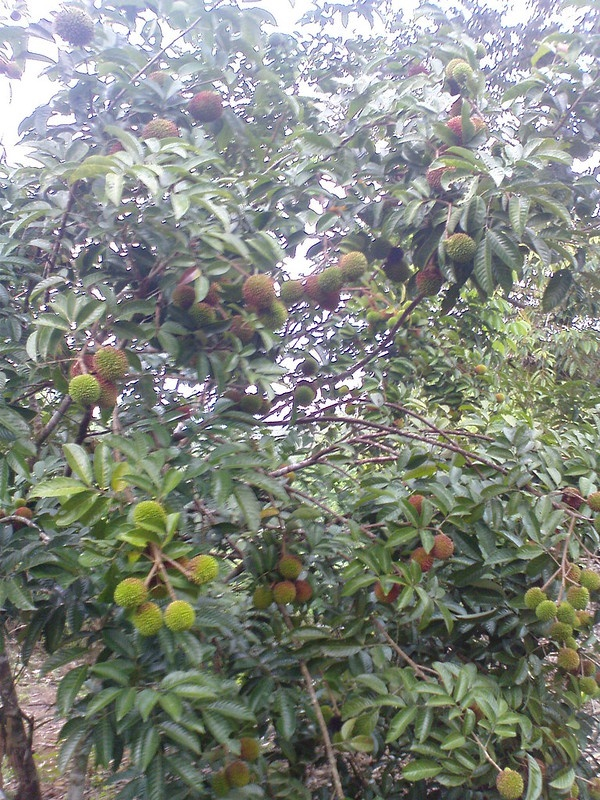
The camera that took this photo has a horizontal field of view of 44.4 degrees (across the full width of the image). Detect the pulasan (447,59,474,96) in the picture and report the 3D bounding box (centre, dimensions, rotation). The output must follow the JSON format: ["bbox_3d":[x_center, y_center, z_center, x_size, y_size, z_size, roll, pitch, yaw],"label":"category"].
[{"bbox_3d":[0.619,-1.253,2.850,0.119,0.115,0.139,-4,2,4],"label":"pulasan"}]

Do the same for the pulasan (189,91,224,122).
[{"bbox_3d":[-0.357,-1.160,2.930,0.133,0.120,0.112,9,39,13],"label":"pulasan"}]

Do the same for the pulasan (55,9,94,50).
[{"bbox_3d":[-0.835,-1.382,2.721,0.115,0.111,0.132,0,-4,6],"label":"pulasan"}]

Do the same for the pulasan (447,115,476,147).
[{"bbox_3d":[0.584,-0.973,2.637,0.102,0.115,0.135,5,6,8],"label":"pulasan"}]
